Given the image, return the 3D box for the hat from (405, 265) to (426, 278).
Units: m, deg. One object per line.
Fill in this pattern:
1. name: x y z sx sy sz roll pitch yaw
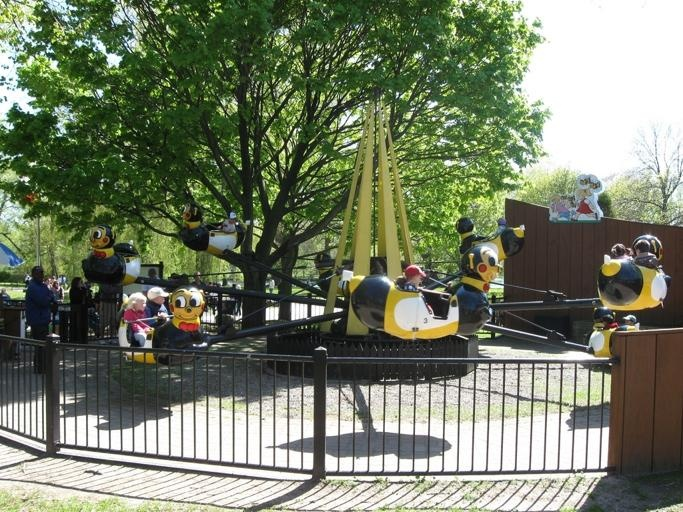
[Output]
1. hat: 1.396 0.280 15.655 0.312 0.160 0.217 -9 11 -27

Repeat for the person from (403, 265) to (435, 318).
1. person: 1.382 0.724 15.723 0.524 1.075 0.395 -5 -2 -25

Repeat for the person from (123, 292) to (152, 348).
1. person: -4.279 1.337 17.703 0.584 1.119 0.812 3 -4 -27

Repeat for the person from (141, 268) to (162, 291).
1. person: -4.889 0.605 21.828 0.357 0.459 0.881 15 11 4

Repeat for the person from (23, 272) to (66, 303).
1. person: -6.935 0.739 19.322 0.531 0.807 0.854 1 -3 3

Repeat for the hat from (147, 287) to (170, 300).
1. hat: -4.001 0.812 18.477 0.468 0.233 0.291 -3 8 -28

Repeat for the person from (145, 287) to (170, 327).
1. person: -4.041 1.148 18.512 0.548 0.924 0.558 -7 20 -28

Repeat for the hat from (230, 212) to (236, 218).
1. hat: -2.575 -0.980 19.983 0.231 0.083 0.314 2 0 -10
